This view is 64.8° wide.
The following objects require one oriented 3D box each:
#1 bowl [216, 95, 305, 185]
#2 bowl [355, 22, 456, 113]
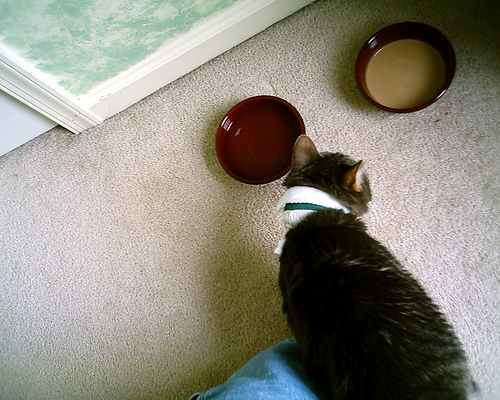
[{"bbox_3d":[0.043,-0.241,1.699,0.419,0.093,0.369,11,86,29],"label":"bowl"},{"bbox_3d":[0.614,-0.532,1.583,0.369,0.121,0.395,-1,84,7],"label":"bowl"}]
